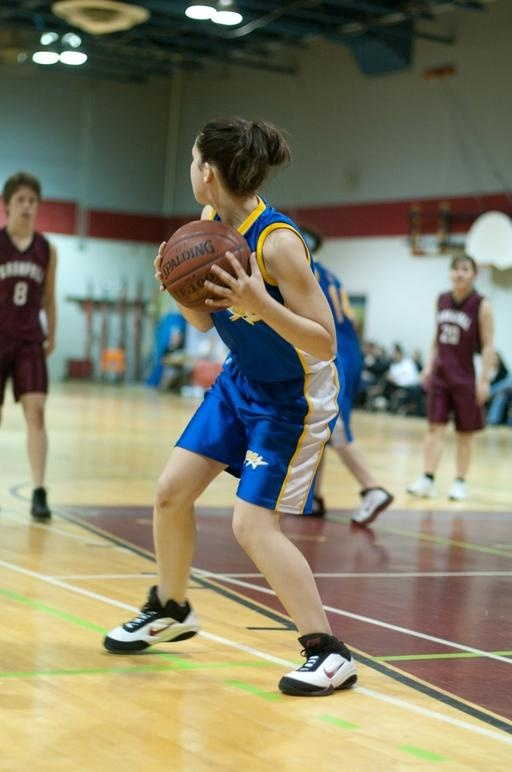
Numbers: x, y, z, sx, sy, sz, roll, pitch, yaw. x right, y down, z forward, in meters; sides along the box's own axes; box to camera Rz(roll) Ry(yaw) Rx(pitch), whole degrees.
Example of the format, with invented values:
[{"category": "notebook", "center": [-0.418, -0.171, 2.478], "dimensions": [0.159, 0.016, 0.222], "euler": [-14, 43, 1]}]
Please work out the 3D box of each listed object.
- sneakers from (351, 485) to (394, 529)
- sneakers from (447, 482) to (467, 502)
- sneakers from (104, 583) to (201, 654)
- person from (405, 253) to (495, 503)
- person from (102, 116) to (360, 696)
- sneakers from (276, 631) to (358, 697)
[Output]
[{"category": "sneakers", "center": [0.651, 0.671, 3.876], "dimensions": [0.148, 0.281, 0.119], "euler": [44, -1, 24]}, {"category": "sneakers", "center": [1.374, 0.709, 4.647], "dimensions": [0.110, 0.119, 0.187], "euler": [5, 4, 16]}, {"category": "sneakers", "center": [-0.300, 0.595, 1.772], "dimensions": [0.303, 0.169, 0.101], "euler": [-9, 6, -14]}, {"category": "person", "center": [1.403, -0.072, 4.784], "dimensions": [0.454, 1.681, 0.510], "euler": [6, 5, 18]}, {"category": "person", "center": [-0.017, 0.068, 1.568], "dimensions": [0.468, 1.254, 0.567], "euler": [2, 5, -32]}, {"category": "sneakers", "center": [0.143, 0.617, 1.518], "dimensions": [0.202, 0.115, 0.091], "euler": [7, -14, -33]}]
